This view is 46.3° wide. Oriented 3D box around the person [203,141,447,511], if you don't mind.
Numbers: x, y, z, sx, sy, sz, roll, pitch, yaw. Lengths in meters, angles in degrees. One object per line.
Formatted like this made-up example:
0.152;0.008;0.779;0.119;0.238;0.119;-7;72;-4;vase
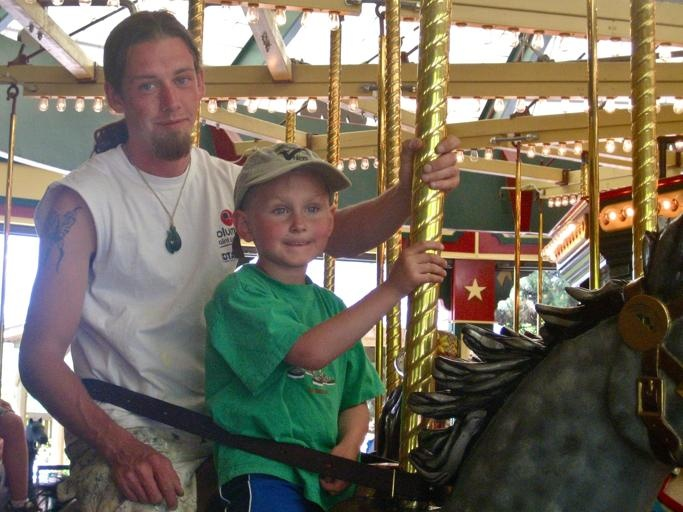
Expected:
-0.086;0.133;2.551;0.699;1.017;0.520;2;-4;5;person
